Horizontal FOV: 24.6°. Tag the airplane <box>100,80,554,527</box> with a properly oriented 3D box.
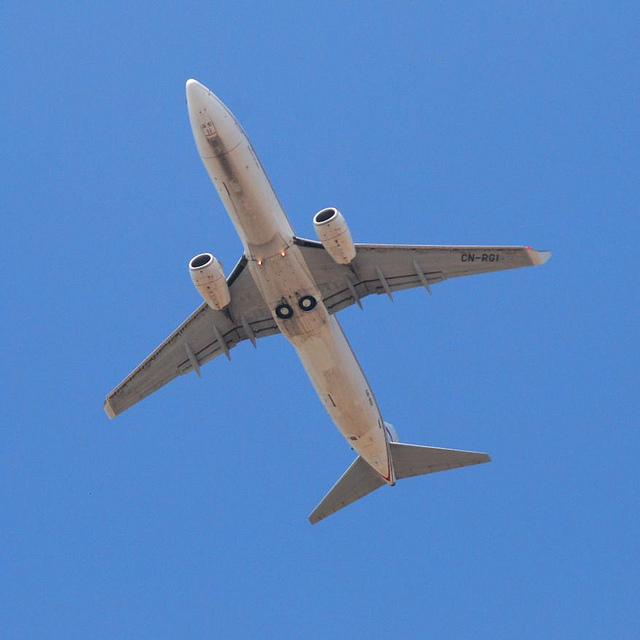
[{"bbox_3d":[-0.322,-0.324,48.518,15.766,4.711,14.237,-24,-77,10],"label":"airplane"}]
